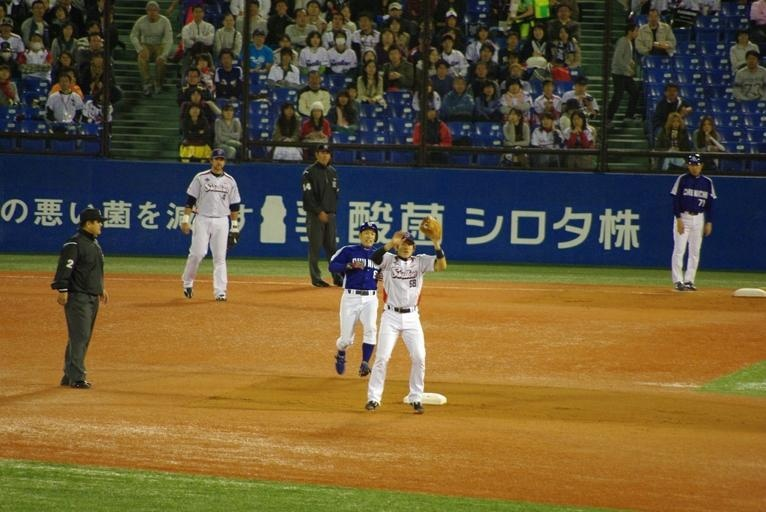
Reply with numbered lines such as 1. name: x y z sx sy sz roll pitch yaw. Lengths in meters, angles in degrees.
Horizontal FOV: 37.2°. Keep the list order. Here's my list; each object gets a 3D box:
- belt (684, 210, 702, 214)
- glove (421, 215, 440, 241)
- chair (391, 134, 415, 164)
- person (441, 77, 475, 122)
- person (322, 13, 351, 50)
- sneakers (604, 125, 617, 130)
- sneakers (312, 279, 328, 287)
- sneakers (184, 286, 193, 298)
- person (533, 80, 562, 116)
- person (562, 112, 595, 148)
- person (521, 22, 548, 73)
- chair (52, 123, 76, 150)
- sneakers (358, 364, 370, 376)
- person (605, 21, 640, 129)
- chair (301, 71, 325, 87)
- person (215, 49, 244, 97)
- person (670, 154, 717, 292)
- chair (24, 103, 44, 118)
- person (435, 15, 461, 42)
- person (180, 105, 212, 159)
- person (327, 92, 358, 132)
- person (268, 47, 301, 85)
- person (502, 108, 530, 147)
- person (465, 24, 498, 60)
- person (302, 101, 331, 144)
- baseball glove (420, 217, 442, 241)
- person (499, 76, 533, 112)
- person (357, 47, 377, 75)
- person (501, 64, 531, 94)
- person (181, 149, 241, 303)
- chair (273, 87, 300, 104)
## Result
1. belt: 7.073 -1.021 26.004 0.301 0.097 0.068 4 14 10
2. glove: 0.772 -0.505 18.228 0.290 0.405 0.143 -12 12 22
3. chair: 0.508 -2.890 30.282 0.581 0.556 1.010 -2 -28 -2
4. person: 1.986 -4.165 30.263 0.896 1.131 0.282 2 14 3
5. person: -1.270 -6.101 31.111 0.836 1.327 0.436 1 43 -8
6. sneakers: 6.047 -3.436 30.236 0.136 0.183 0.464 3 10 30
7. sneakers: -1.461 0.598 26.147 0.407 0.167 0.150 6 31 -3
8. sneakers: -4.192 0.716 24.518 0.170 0.231 0.238 6 33 1
9. person: 4.355 -4.086 30.262 0.816 1.133 0.672 2 11 -6
10. person: 5.242 -3.252 30.175 0.917 1.189 0.738 4 22 29
11. person: 4.173 -5.725 31.189 0.808 1.197 0.507 3 4 3
12. chair: -8.587 -3.212 30.640 0.694 0.885 0.685 0 6 -3
13. sneakers: -0.300 1.854 19.117 0.147 0.147 0.238 4 -28 -1
14. person: 6.493 -4.881 30.524 0.812 2.564 1.343 4 14 11
15. chair: -1.843 -4.679 30.196 0.405 0.499 0.471 -1 3 -5
16. person: -4.116 -4.758 30.257 0.842 1.360 0.796 -3 9 -12
17. person: 7.077 -0.716 26.137 0.831 3.162 1.045 14 19 42
18. chair: -9.387 -3.889 30.656 0.519 0.346 0.781 -3 14 -18
19. person: 1.780 -6.114 30.800 0.744 0.728 0.406 2 -9 -7
20. person: -5.024 -3.280 30.216 0.876 1.395 0.858 -3 14 -17
21. person: -1.061 -3.810 30.370 0.894 1.127 0.703 1 -6 -3
22. person: -2.657 -5.039 30.452 0.896 0.964 0.606 0 14 -6
23. person: 3.496 -3.383 30.261 0.729 1.042 0.609 -1 -2 -3
24. person: 2.717 -5.712 30.898 0.985 0.966 0.532 -3 4 7
25. person: -1.729 -3.520 29.915 0.522 1.035 0.797 14 19 42
26. baseball glove: 0.783 -0.455 18.267 0.338 0.443 0.171 -18 11 9
27. person: 3.597 -4.212 30.400 0.691 1.058 0.624 -7 -33 17
28. person: -0.412 -5.297 30.530 0.515 0.722 0.526 1 2 -5
29. person: 3.604 -4.817 30.516 0.687 0.903 0.332 -2 -2 0
30. person: -3.692 -0.686 24.331 1.185 3.162 1.093 -1 14 -10
31. chair: -2.615 -4.273 30.282 0.574 0.343 0.415 2 -2 4
